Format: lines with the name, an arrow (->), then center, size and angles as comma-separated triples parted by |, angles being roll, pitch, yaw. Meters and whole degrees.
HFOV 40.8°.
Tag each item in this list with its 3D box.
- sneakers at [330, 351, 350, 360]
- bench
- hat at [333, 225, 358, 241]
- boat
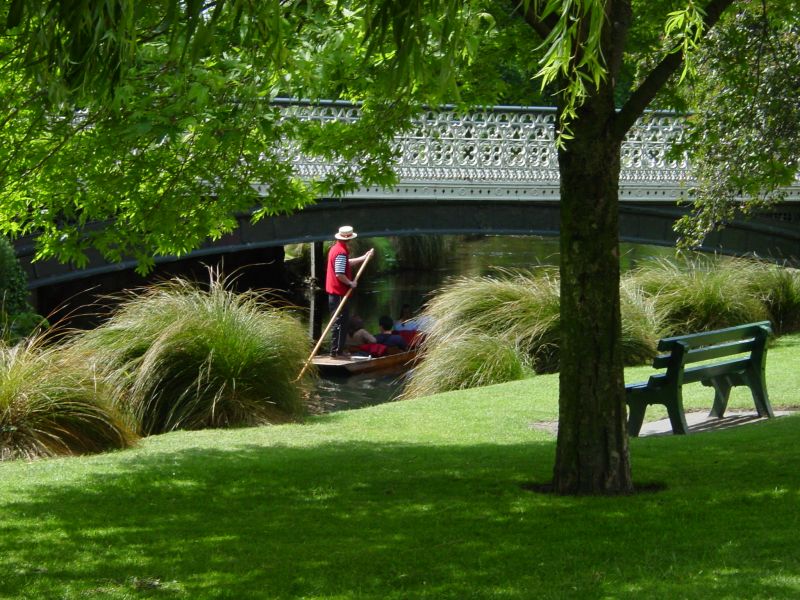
sneakers -> -0.949, 0.876, 16.975 | 0.309, 0.117, 0.107 | -2, 7, -15
bench -> 2.823, 0.741, 10.169 | 1.708, 0.868, 0.752 | -6, 2, -40
hat -> -0.865, -1.068, 17.021 | 0.365, 0.229, 0.780 | -1, 6, -3
boat -> -0.331, 0.812, 17.306 | 0.717, 0.218, 2.156 | 4, 14, 32
